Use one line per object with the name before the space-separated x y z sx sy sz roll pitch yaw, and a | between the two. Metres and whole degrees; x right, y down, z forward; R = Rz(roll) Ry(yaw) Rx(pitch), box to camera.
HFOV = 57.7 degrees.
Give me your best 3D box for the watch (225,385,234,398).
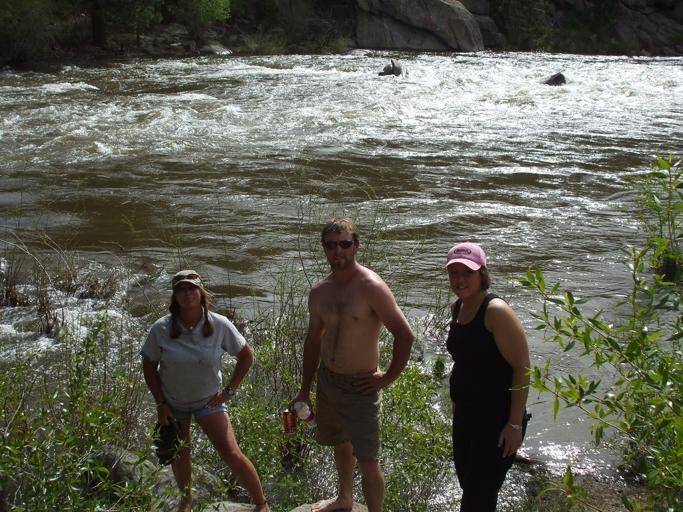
watch | -0.855 1.029 4.761 0.053 0.094 0.079 -16 18 -33
